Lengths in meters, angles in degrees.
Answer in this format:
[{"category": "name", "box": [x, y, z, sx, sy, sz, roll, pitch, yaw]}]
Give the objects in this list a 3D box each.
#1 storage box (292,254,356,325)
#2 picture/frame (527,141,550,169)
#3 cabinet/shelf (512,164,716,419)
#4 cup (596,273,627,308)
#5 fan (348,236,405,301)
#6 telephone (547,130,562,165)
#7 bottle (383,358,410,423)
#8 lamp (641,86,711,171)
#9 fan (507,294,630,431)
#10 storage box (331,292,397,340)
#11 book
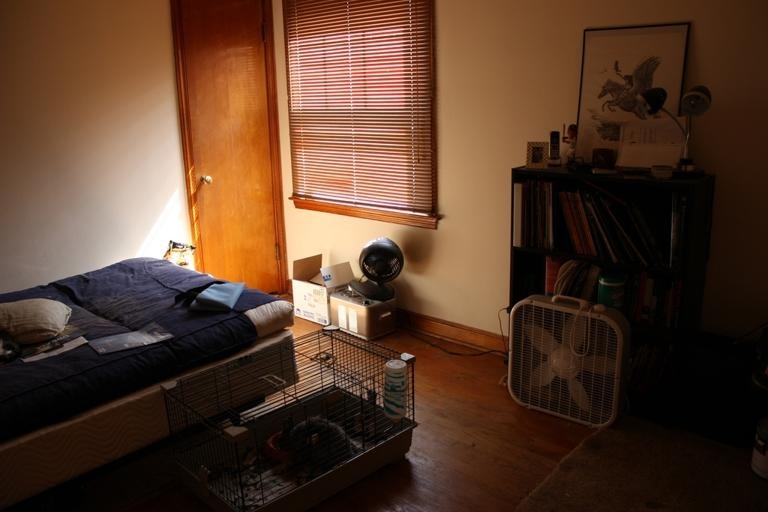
[{"category": "storage box", "box": [-0.517, 0.278, 4.835, 0.457, 0.477, 0.365, 8, 16, 42]}, {"category": "picture/frame", "box": [1.016, -0.664, 3.615, 0.172, 0.200, 0.018, 4, 15, 17]}, {"category": "cabinet/shelf", "box": [1.351, 0.218, 3.520, 1.202, 1.517, 0.760, 10, 20, 30]}, {"category": "cup", "box": [1.402, 0.206, 3.503, 0.199, 0.220, 0.200, 0, 10, 0]}, {"category": "fan", "box": [-0.088, 0.086, 4.533, 0.484, 0.505, 0.452, 15, 13, 43]}, {"category": "telephone", "box": [1.118, -0.713, 3.613, 0.078, 0.208, 0.073, 7, 19, 24]}, {"category": "bottle", "box": [0.069, 0.775, 3.179, 0.136, 0.343, 0.121, 0, 18, 1]}, {"category": "lamp", "box": [1.726, -0.785, 3.326, 0.360, 0.472, 0.277, 8, 19, 24]}, {"category": "fan", "box": [1.170, 0.662, 3.405, 0.688, 0.749, 0.282, 12, 21, 32]}, {"category": "storage box", "box": [-0.174, 0.470, 4.606, 0.496, 0.292, 0.352, 10, 18, 42]}, {"category": "book", "box": [1.366, -0.003, 3.407, 0.903, 0.841, 0.303, 6, 9, 39]}]
